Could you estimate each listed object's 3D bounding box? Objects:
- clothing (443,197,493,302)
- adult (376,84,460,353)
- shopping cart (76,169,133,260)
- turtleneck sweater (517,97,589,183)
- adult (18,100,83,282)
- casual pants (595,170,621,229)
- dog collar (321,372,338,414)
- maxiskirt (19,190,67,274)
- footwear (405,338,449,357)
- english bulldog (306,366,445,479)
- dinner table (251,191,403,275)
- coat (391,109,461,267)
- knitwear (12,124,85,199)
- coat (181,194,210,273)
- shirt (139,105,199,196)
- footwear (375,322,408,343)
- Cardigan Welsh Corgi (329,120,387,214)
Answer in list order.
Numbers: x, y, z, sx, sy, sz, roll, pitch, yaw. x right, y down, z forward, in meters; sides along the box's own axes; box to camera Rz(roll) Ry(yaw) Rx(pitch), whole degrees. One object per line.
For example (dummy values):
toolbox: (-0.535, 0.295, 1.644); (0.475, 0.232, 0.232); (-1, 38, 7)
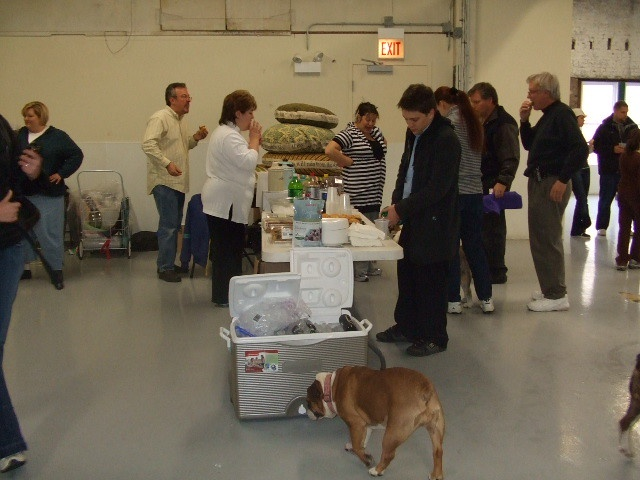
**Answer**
clothing: (1.320, 0.058, 4.589); (0.381, 1.093, 0.220); (-8, -16, 40)
adult: (0.746, -0.167, 3.835); (0.704, 1.963, 0.775); (0, 4, 3)
shopping cart: (-2.916, -0.352, 7.018); (0.636, 1.258, 0.804); (-6, -1, -4)
turtleneck sweater: (2.180, -0.949, 4.793); (0.396, 0.749, 0.836); (0, 14, -14)
adult: (-3.046, -0.508, 5.560); (0.643, 2.004, 0.611); (3, 10, 2)
casual pants: (4.502, -0.582, 8.041); (0.257, 0.985, 0.310); (2, -7, 42)
dog collar: (0.067, 0.781, 2.723); (0.061, 0.143, 0.102); (11, 26, -3)
maxiskirt: (-3.033, -0.195, 5.516); (0.287, 0.698, 0.216); (31, 43, 1)
footwear: (0.805, 0.818, 3.851); (0.226, 0.108, 0.135); (1, 5, -5)
english bulldog: (0.231, 0.859, 2.748); (0.903, 0.614, 0.328); (0, 0, 41)
dinner table: (0.035, 0.079, 3.608); (0.867, 0.393, 1.181); (-2, 12, -7)
coat: (0.795, -0.372, 3.732); (0.477, 1.079, 0.380); (2, 10, 11)
knitwear: (-3.012, -0.866, 5.533); (0.815, 0.809, 0.328); (-5, 6, -28)
coat: (-1.461, -0.079, 6.034); (0.325, 1.023, 0.200); (10, 28, 2)
shirt: (-1.756, -1.042, 5.924); (0.395, 0.963, 0.640); (2, 11, 13)
footwear: (0.573, 0.747, 4.146); (0.280, 0.144, 0.113); (2, 2, 3)
Cardigan Welsh Corgi: (0.501, -0.797, 5.738); (0.826, 0.979, 0.463); (-5, 2, -25)
